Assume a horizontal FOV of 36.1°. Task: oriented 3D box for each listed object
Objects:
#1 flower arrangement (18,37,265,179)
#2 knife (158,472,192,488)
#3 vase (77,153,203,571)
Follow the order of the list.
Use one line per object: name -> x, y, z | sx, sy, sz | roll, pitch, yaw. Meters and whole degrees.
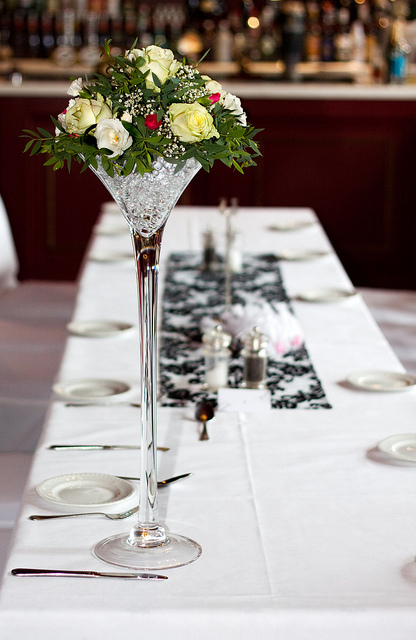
flower arrangement -> -0.061, -0.152, 0.592 | 0.169, 0.089, 0.160 | -5, -3, 23
knife -> -0.042, 0.199, 0.804 | 0.051, 0.011, 0.012 | -5, 12, -31
vase -> -0.053, 0.044, 0.588 | 0.107, 0.380, 0.089 | 0, 12, -9
